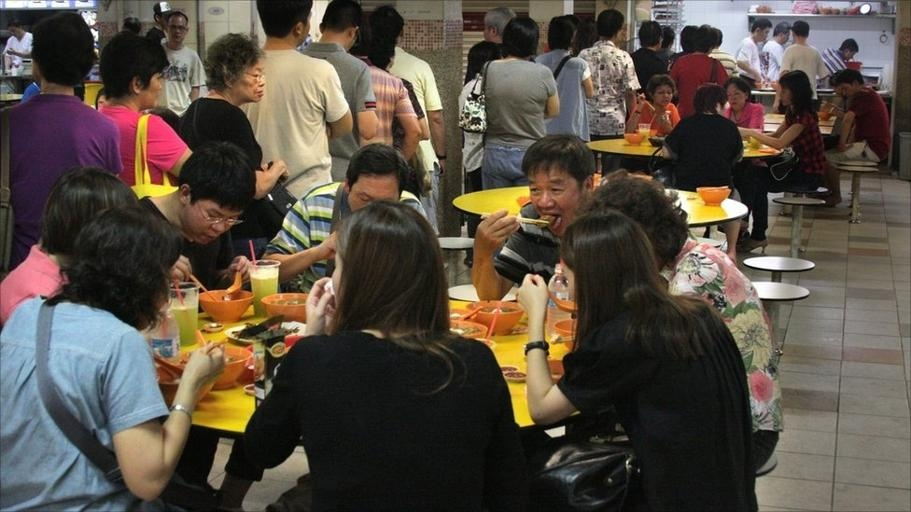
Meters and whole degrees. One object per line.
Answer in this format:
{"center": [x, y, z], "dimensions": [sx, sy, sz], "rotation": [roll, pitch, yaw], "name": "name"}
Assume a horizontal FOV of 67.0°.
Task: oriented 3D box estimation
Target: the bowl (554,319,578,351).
{"center": [0.545, 0.388, 3.376], "dimensions": [0.135, 0.082, 0.125], "rotation": [-1, 9, 0], "name": "bowl"}

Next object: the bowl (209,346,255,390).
{"center": [-0.986, 0.506, 3.110], "dimensions": [0.178, 0.073, 0.165], "rotation": [0, 6, 0], "name": "bowl"}

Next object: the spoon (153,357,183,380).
{"center": [-1.226, 0.473, 2.963], "dimensions": [0.112, 0.034, 0.109], "rotation": [-20, 34, -39], "name": "spoon"}

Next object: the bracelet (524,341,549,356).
{"center": [0.349, 0.397, 3.006], "dimensions": [0.094, 0.053, 0.097], "rotation": [-1, -9, 42], "name": "bracelet"}

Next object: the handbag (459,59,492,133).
{"center": [0.191, -1.470, 6.480], "dimensions": [0.253, 0.636, 0.289], "rotation": [3, 9, 1], "name": "handbag"}

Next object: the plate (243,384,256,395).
{"center": [-0.904, 0.591, 3.025], "dimensions": [0.064, 0.016, 0.060], "rotation": [1, 11, 0], "name": "plate"}

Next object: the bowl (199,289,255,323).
{"center": [-1.180, 0.264, 3.596], "dimensions": [0.213, 0.087, 0.198], "rotation": [0, 2, 0], "name": "bowl"}

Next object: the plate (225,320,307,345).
{"center": [-0.976, 0.378, 3.365], "dimensions": [0.210, 0.034, 0.203], "rotation": [0, 7, 19], "name": "plate"}

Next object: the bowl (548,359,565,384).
{"center": [0.448, 0.520, 3.068], "dimensions": [0.085, 0.094, 0.086], "rotation": [2, 25, -1], "name": "bowl"}

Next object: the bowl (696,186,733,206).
{"center": [2.146, -0.495, 5.739], "dimensions": [0.216, 0.105, 0.209], "rotation": [0, 5, 0], "name": "bowl"}

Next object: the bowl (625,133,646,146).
{"center": [2.039, -1.312, 7.816], "dimensions": [0.180, 0.085, 0.167], "rotation": [-2, 11, 0], "name": "bowl"}

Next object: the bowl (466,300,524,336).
{"center": [0.216, 0.356, 3.544], "dimensions": [0.258, 0.103, 0.241], "rotation": [-6, -5, -1], "name": "bowl"}

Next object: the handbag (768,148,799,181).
{"center": [3.836, -1.056, 8.078], "dimensions": [0.288, 0.211, 0.374], "rotation": [20, -30, -35], "name": "handbag"}

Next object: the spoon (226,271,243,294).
{"center": [-1.169, 0.138, 3.696], "dimensions": [0.057, 0.033, 0.194], "rotation": [0, 38, 5], "name": "spoon"}

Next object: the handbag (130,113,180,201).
{"center": [-1.848, -0.615, 4.239], "dimensions": [0.242, 0.498, 0.367], "rotation": [-1, 9, -24], "name": "handbag"}

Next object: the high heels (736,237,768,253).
{"center": [3.477, -0.114, 8.099], "dimensions": [0.312, 0.105, 0.163], "rotation": [3, 10, 6], "name": "high heels"}
